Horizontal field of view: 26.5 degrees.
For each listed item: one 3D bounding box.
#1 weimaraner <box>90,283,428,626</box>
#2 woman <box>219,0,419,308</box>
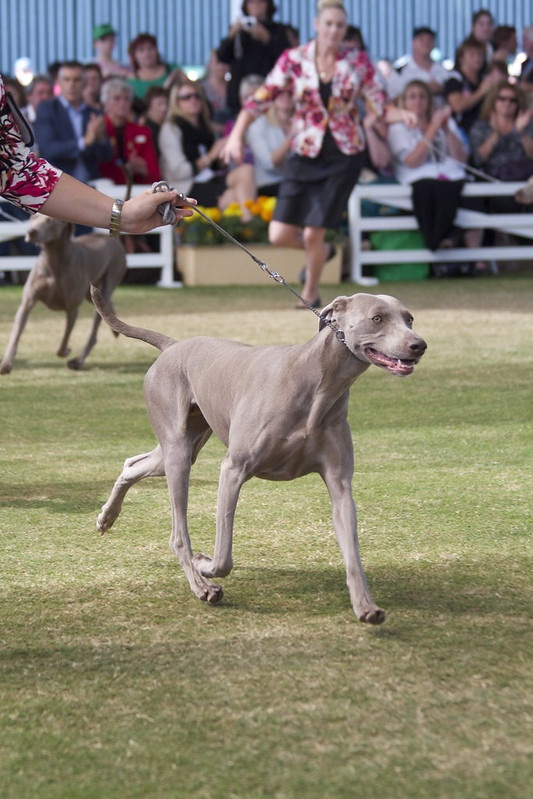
[{"bbox_3d":[0.005,0.118,2.827,0.402,0.782,0.820,-9,14,-35],"label":"weimaraner"},{"bbox_3d":[0.393,-1.634,7.848,1.112,2.062,1.117,1,12,4],"label":"woman"}]
